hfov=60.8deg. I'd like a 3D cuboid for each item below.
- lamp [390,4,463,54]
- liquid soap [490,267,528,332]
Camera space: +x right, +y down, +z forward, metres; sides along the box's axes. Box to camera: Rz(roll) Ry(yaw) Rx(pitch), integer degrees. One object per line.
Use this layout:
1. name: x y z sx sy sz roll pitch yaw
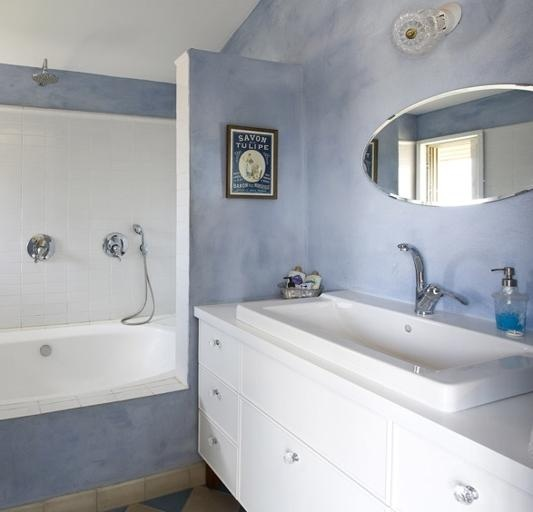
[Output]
1. lamp: 0.554 -0.776 1.554 0.143 0.122 0.214 -23 14 38
2. liquid soap: 0.727 0.131 1.343 0.104 0.197 0.110 -8 9 -12
